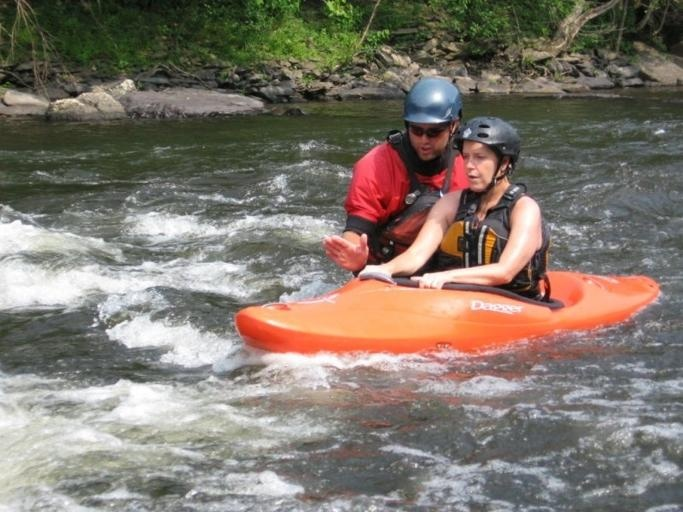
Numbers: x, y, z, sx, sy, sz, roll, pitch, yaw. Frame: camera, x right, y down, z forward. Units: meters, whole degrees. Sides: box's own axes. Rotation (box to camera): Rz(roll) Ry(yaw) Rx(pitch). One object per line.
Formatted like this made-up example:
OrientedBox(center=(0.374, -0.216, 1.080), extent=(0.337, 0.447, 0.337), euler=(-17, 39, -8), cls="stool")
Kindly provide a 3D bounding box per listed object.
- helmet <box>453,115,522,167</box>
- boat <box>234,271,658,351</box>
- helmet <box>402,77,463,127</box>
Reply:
OrientedBox(center=(1.121, -0.872, 6.402), extent=(0.488, 0.257, 0.523), euler=(1, -2, 24), cls="helmet")
OrientedBox(center=(1.174, 0.499, 6.486), extent=(3.919, 0.337, 0.870), euler=(-1, 12, -7), cls="boat")
OrientedBox(center=(0.739, -1.277, 6.672), extent=(0.478, 0.210, 0.504), euler=(14, 38, 24), cls="helmet")
